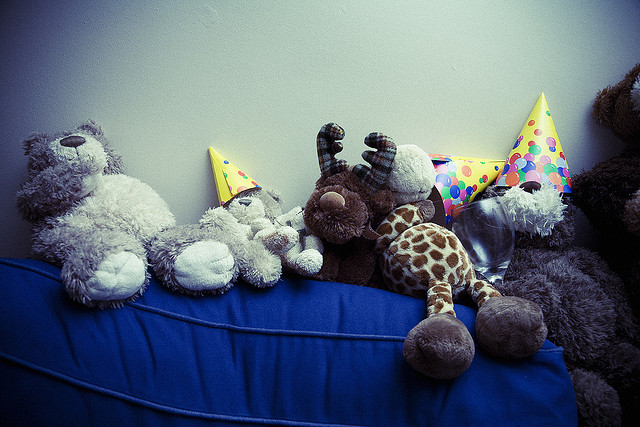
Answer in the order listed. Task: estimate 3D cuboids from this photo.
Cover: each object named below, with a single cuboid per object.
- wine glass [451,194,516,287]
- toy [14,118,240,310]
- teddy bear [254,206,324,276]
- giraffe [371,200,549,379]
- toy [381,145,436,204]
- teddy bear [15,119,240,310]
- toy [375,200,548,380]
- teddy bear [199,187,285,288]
[{"bbox_3d":[0.555,0.104,1.883,0.182,0.319,0.195,-8,4,3],"label":"wine glass"},{"bbox_3d":[-0.636,-0.015,1.754,0.751,0.328,0.496,31,30,33],"label":"toy"},{"bbox_3d":[-0.063,0.067,1.727,0.215,0.154,0.171,19,34,27],"label":"teddy bear"},{"bbox_3d":[0.361,0.183,1.806,0.441,0.272,0.680,-14,35,-15],"label":"giraffe"},{"bbox_3d":[0.267,-0.104,1.741,0.155,0.171,0.083,13,-5,-23],"label":"toy"},{"bbox_3d":[-0.646,-0.019,1.744,0.750,0.355,0.469,29,26,31],"label":"teddy bear"},{"bbox_3d":[0.350,0.188,1.784,0.396,0.229,0.669,-14,40,-15],"label":"toy"},{"bbox_3d":[-0.202,0.011,1.715,0.201,0.134,0.315,-19,56,-15],"label":"teddy bear"}]
